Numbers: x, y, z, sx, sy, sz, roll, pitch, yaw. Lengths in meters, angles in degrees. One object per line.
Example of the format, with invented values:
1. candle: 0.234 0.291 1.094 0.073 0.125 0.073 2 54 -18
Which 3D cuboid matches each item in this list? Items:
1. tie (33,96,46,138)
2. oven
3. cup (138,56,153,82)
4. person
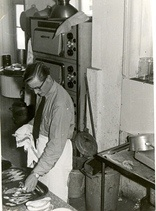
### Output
1. tie: -0.341 0.106 2.173 0.124 0.309 0.129 -16 31 -32
2. oven: -0.219 -0.382 3.659 0.991 1.716 0.593 20 31 37
3. cup: 0.617 -0.341 2.372 0.094 0.234 0.126 0 27 2
4. person: -0.242 0.228 2.107 0.588 1.149 0.518 -17 33 -38
